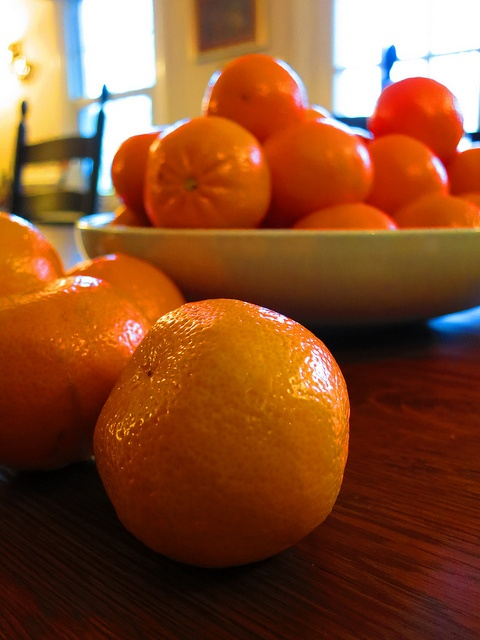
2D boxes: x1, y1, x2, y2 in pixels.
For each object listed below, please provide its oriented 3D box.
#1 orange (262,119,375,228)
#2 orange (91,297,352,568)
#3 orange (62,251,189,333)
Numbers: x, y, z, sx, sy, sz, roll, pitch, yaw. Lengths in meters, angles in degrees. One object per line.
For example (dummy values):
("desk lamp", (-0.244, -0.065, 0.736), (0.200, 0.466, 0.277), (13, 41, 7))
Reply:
("orange", (0.065, -0.118, 0.543), (0.095, 0.082, 0.082), (-27, 23, -3))
("orange", (0.004, 0.051, 0.269), (0.081, 0.091, 0.086), (28, 44, -23))
("orange", (-0.074, -0.027, 0.398), (0.056, 0.056, 0.057), (3, 13, 10))
